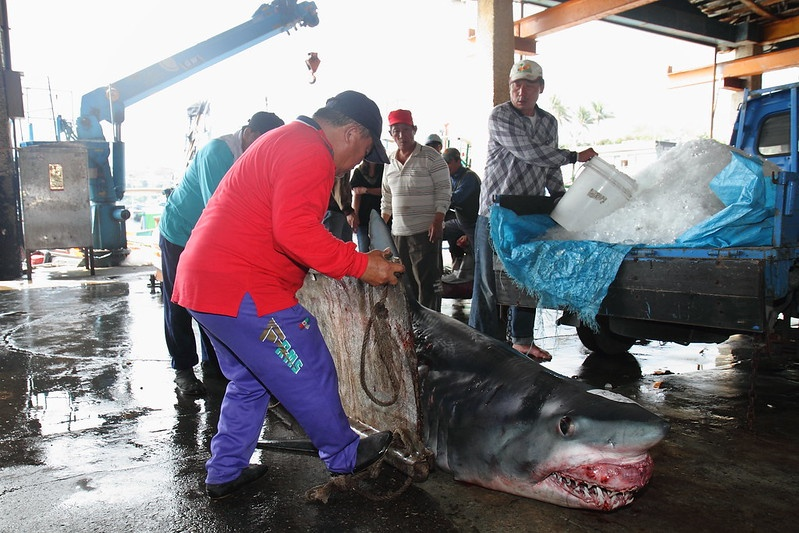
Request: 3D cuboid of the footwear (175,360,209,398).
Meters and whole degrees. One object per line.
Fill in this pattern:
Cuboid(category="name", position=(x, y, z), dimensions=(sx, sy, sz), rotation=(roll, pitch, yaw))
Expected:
Cuboid(category="footwear", position=(-1.849, 1.034, 4.806), dimensions=(0.151, 0.175, 0.411), rotation=(4, -4, -36))

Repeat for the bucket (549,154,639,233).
Cuboid(category="bucket", position=(1.786, -0.625, 4.909), dimensions=(0.548, 0.573, 0.514), rotation=(23, 19, -9))

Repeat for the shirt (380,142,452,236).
Cuboid(category="shirt", position=(0.194, -0.939, 6.659), dimensions=(0.954, 1.121, 0.547), rotation=(2, 5, 32))

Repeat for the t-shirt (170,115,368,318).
Cuboid(category="t-shirt", position=(-0.855, -0.312, 3.451), dimensions=(1.068, 1.204, 1.320), rotation=(1, 14, -33))

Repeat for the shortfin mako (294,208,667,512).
Cuboid(category="shortfin mako", position=(0.364, 0.562, 3.956), dimensions=(1.025, 1.344, 3.023), rotation=(-16, 23, -42))

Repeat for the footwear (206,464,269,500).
Cuboid(category="footwear", position=(-1.004, 1.329, 3.467), dimensions=(0.126, 0.150, 0.402), rotation=(9, 16, 39))

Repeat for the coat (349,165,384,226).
Cuboid(category="coat", position=(-0.422, -0.929, 6.954), dimensions=(0.624, 0.809, 0.214), rotation=(0, 8, -3))

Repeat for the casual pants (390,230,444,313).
Cuboid(category="casual pants", position=(0.404, 0.041, 6.541), dimensions=(0.289, 1.004, 0.437), rotation=(-30, 35, -23))

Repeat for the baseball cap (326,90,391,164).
Cuboid(category="baseball cap", position=(-0.216, -0.827, 3.352), dimensions=(0.479, 0.257, 0.326), rotation=(28, 2, -28))

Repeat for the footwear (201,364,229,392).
Cuboid(category="footwear", position=(-1.713, 1.012, 5.076), dimensions=(0.169, 0.214, 0.483), rotation=(-12, 6, -27))
